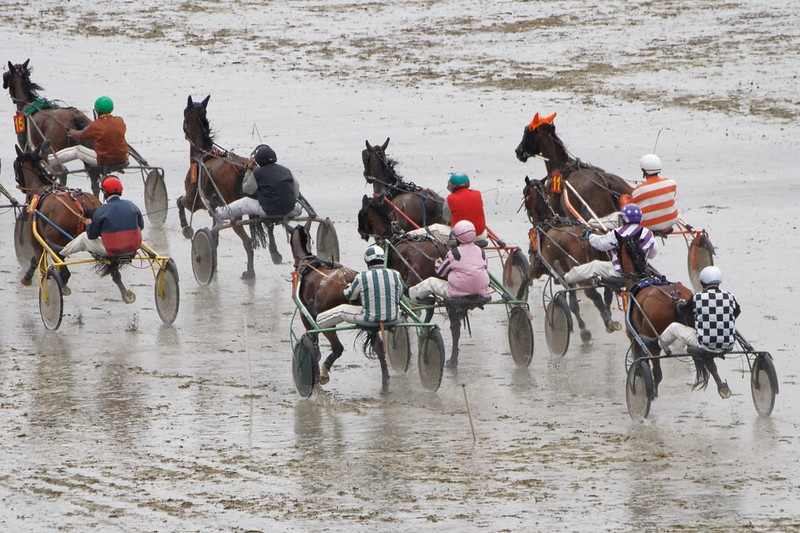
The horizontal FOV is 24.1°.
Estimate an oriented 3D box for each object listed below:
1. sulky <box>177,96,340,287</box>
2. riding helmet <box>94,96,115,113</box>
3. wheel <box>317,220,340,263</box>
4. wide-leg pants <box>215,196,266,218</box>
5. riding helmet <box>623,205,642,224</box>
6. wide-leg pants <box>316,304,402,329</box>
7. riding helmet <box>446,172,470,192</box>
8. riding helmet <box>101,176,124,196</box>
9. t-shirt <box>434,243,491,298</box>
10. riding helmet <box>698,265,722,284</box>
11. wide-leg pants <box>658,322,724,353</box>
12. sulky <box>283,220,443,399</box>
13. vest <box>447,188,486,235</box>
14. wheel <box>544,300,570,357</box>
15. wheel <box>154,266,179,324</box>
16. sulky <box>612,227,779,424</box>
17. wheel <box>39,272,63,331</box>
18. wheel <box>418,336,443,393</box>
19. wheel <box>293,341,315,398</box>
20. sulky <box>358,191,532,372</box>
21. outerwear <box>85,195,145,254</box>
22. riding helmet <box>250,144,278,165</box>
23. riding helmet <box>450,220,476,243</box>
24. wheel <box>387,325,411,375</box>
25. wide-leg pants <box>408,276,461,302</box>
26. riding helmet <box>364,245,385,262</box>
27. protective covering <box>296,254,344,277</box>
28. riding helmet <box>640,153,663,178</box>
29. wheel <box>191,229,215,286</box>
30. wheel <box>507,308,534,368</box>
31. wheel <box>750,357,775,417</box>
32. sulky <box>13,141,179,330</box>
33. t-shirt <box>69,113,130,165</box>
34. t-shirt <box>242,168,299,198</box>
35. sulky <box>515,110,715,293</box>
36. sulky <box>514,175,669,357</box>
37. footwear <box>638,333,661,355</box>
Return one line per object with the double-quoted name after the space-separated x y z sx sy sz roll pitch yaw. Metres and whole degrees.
-3.264 -1.737 41.191 2.724 3.257 4.893 -7 17 -24 "sulky"
-6.542 -3.554 41.310 0.354 0.447 0.279 -6 4 -25 "riding helmet"
-1.541 -0.558 39.559 0.332 0.887 0.868 -7 14 -24 "wheel"
-3.387 -1.250 39.464 0.903 0.316 0.455 -9 34 1 "wide-leg pants"
4.371 -1.044 35.345 0.321 0.287 0.368 0 22 -2 "riding helmet"
-0.863 0.816 34.426 1.130 0.288 0.591 8 9 13 "wide-leg pants"
1.132 -1.709 36.795 0.354 0.400 0.415 -1 24 -4 "riding helmet"
-5.714 -1.631 37.376 0.406 0.408 0.452 1 33 -17 "riding helmet"
1.052 -0.045 35.480 0.945 1.021 1.023 -7 27 -13 "t-shirt"
5.547 0.122 33.473 0.339 0.296 0.357 3 16 1 "riding helmet"
5.139 1.256 33.383 0.837 0.579 0.274 23 58 -4 "wide-leg pants"
-1.257 0.792 35.946 2.743 2.658 4.940 -4 11 -23 "sulky"
1.258 -1.093 36.444 0.919 1.117 0.680 -5 10 -8 "vest"
3.028 1.087 35.964 0.246 1.154 0.721 -13 19 -29 "wheel"
-4.668 0.456 37.597 0.401 1.214 0.734 -10 18 -23 "wheel"
4.906 0.949 34.585 2.605 2.953 4.619 -4 12 -16 "sulky"
-6.900 0.618 37.021 0.302 1.127 1.217 -4 2 -27 "wheel"
0.565 1.712 34.518 0.272 1.017 0.987 -3 9 -24 "wheel"
-1.766 1.777 34.363 0.201 1.110 0.709 -16 21 -36 "wheel"
0.714 0.117 36.671 1.196 3.083 5.726 -27 31 -25 "sulky"
-5.668 -0.907 37.477 1.278 1.127 1.369 -6 15 -1 "outerwear"
-2.852 -2.342 39.339 0.418 0.398 0.448 -6 44 -15 "riding helmet"
1.210 -0.763 35.260 0.364 0.365 0.445 -12 42 -13 "riding helmet"
-0.032 1.484 35.261 0.176 0.891 0.959 -6 6 -26 "wheel"
0.553 0.410 35.731 0.695 0.308 0.385 -11 17 16 "wide-leg pants"
-0.471 -0.294 34.646 0.284 0.284 0.352 -1 4 -18 "riding helmet"
-1.572 -0.072 35.116 0.618 0.230 0.412 3 -7 -2 "protective covering"
5.029 -2.096 37.824 0.451 0.432 0.544 -2 29 0 "riding helmet"
-4.113 -0.269 39.478 0.304 1.191 0.784 -14 20 -31 "wheel"
2.278 1.249 35.603 0.251 1.147 0.722 -13 19 -29 "wheel"
6.483 2.028 33.438 0.583 1.167 0.204 10 21 36 "wheel"
-6.803 -0.744 38.412 2.711 2.965 5.479 -7 17 -32 "sulky"
-6.459 -2.907 41.863 1.225 0.924 1.634 -13 22 -23 "t-shirt"
-2.698 -1.786 39.056 0.730 0.524 0.851 -6 9 -30 "t-shirt"
4.290 -1.031 38.823 1.363 3.418 5.743 -2 17 -42 "sulky"
3.298 -0.152 36.996 0.976 2.811 4.414 -12 13 -14 "sulky"
4.465 1.309 33.662 0.100 0.224 0.422 -25 54 -22 "footwear"
